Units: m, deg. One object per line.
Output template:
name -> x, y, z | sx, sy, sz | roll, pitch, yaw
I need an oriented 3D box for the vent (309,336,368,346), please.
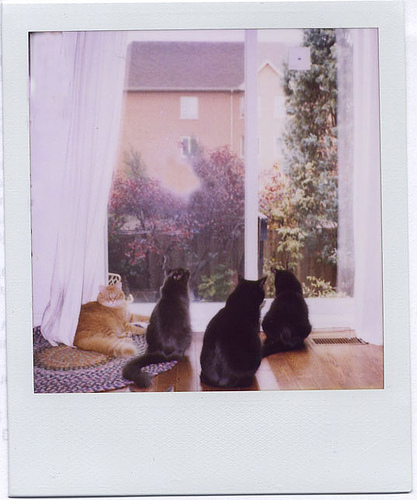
vent -> 0.584, 0.417, 2.470 | 0.250, 0.031, 0.091 | 1, 1, 10

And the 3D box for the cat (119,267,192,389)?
cat -> -0.214, 0.330, 2.370 | 0.350, 0.491, 0.177 | 0, 1, -38

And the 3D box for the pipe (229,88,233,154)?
pipe -> 0.108, -0.619, 2.576 | 0.018, 0.303, 0.022 | 1, 1, -3

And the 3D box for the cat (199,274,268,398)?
cat -> 0.133, 0.368, 2.396 | 0.240, 0.298, 0.567 | 5, 37, 24

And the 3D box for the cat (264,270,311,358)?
cat -> 0.357, 0.306, 2.480 | 0.129, 0.470, 0.202 | -1, -24, 12
